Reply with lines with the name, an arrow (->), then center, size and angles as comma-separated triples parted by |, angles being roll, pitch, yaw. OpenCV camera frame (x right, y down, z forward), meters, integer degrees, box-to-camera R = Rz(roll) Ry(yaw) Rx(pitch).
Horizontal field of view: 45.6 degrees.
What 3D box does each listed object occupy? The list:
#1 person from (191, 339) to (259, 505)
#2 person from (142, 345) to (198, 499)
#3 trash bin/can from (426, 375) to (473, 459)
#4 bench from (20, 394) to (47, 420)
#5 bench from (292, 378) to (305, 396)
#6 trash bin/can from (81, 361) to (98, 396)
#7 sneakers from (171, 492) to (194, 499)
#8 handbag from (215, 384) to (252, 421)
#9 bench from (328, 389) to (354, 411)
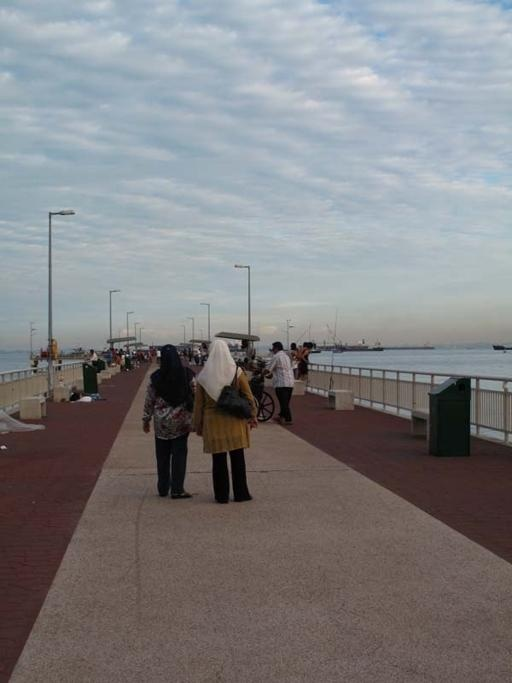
person -> -0.357, 0.901, 6.945 | 0.733, 1.870, 1.087 | -1, 2, -2
person -> -1.005, 0.947, 7.184 | 0.584, 1.828, 0.723 | -1, 2, -18
trash bin/can -> 3.311, 1.266, 10.311 | 0.811, 1.228, 0.796 | 3, 0, 31
bench -> -6.206, 1.873, 16.985 | 0.514, 0.658, 0.752 | -1, -1, -1
bench -> 1.863, 1.927, 25.706 | 0.622, 0.671, 0.637 | 1, 3, -2
trash bin/can -> -6.987, 1.600, 25.643 | 0.542, 1.146, 0.984 | -1, 2, -18
sneakers -> -0.832, 1.743, 6.979 | 0.229, 0.097, 0.085 | -2, -1, -11
handbag -> -0.267, 0.675, 6.701 | 0.118, 0.299, 0.304 | -4, -28, 42
bench -> 2.640, 1.818, 19.024 | 0.591, 0.470, 0.601 | 1, -3, -14
